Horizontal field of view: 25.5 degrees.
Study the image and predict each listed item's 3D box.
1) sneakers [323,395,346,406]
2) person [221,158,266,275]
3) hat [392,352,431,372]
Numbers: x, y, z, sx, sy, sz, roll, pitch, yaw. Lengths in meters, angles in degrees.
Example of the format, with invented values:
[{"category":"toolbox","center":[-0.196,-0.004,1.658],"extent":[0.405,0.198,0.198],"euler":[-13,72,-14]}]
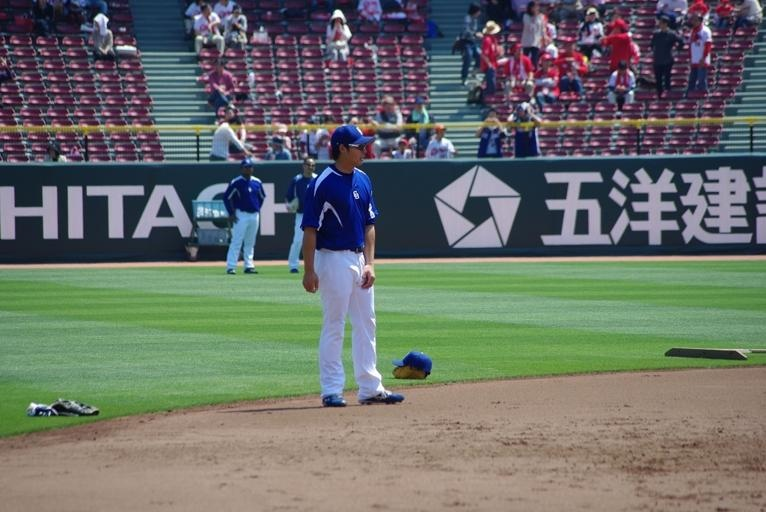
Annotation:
[{"category":"sneakers","center":[-1.007,2.861,33.623],"extent":[0.394,0.176,0.216],"euler":[-3,-1,22]},{"category":"person","center":[-3.684,-1.029,44.320],"extent":[1.015,2.994,0.645],"euler":[-2,6,-10]},{"category":"hat","center":[0.589,2.188,34.734],"extent":[0.606,0.330,0.417],"euler":[18,-2,8]}]
